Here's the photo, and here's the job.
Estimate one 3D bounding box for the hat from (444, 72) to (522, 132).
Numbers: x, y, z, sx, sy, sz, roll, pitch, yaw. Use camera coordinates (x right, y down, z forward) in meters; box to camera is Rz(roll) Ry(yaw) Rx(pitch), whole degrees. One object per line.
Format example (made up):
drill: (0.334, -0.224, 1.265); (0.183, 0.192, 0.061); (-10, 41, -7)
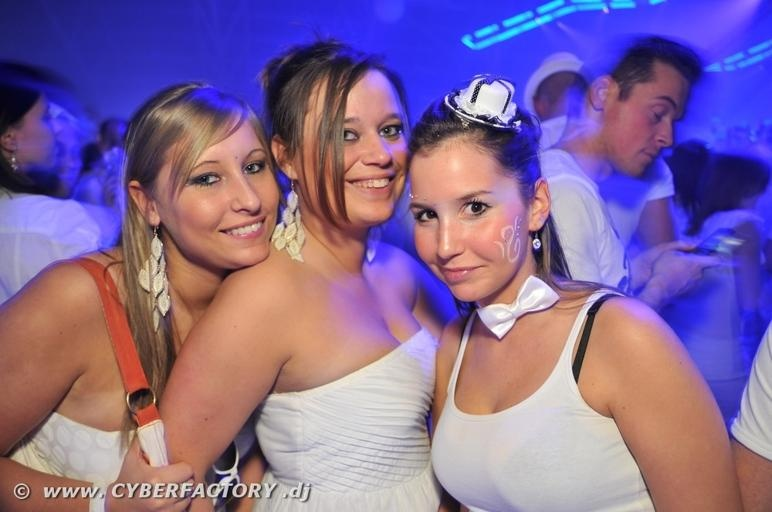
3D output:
hat: (0.475, -0.701, 3.389); (0.397, 0.269, 0.401); (-2, 3, -24)
